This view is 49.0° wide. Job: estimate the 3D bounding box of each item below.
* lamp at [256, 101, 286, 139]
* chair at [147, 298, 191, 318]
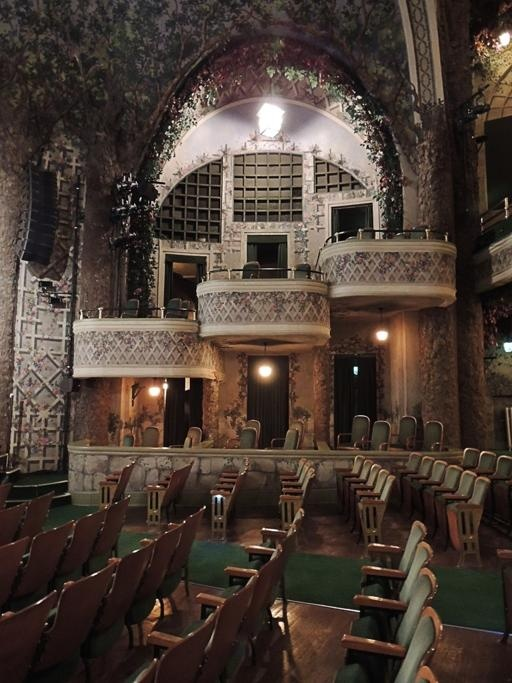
[{"bbox_3d":[0.411,-5.999,15.259,0.902,0.845,0.660,1,2,15],"label":"lamp"},{"bbox_3d":[-2.092,-0.790,13.252,0.533,0.665,0.556,8,-2,-27],"label":"chair"}]
